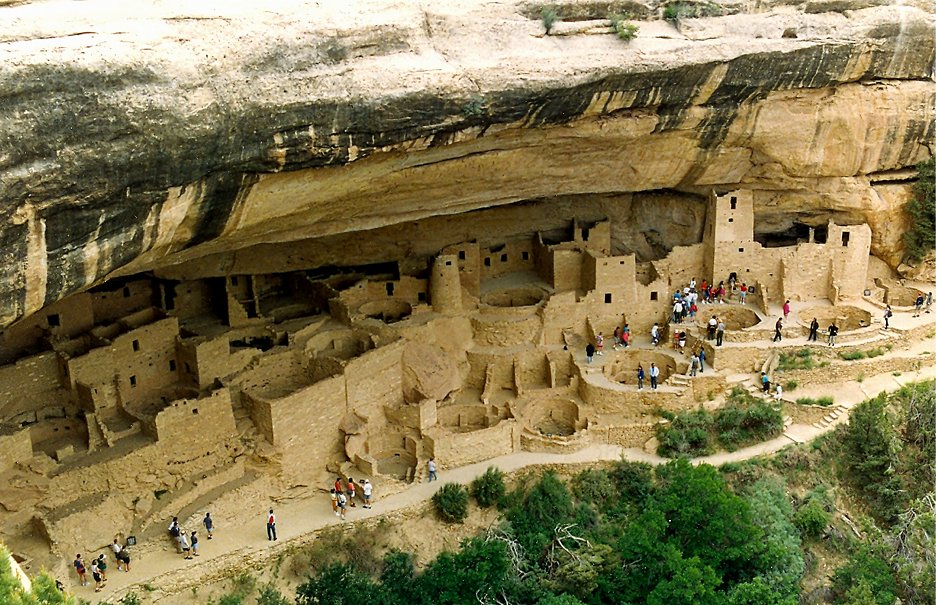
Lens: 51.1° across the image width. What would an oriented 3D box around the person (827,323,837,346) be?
[{"bbox_3d":[11.199,0.939,30.223,0.258,0.646,0.640,7,34,20],"label":"person"}]
